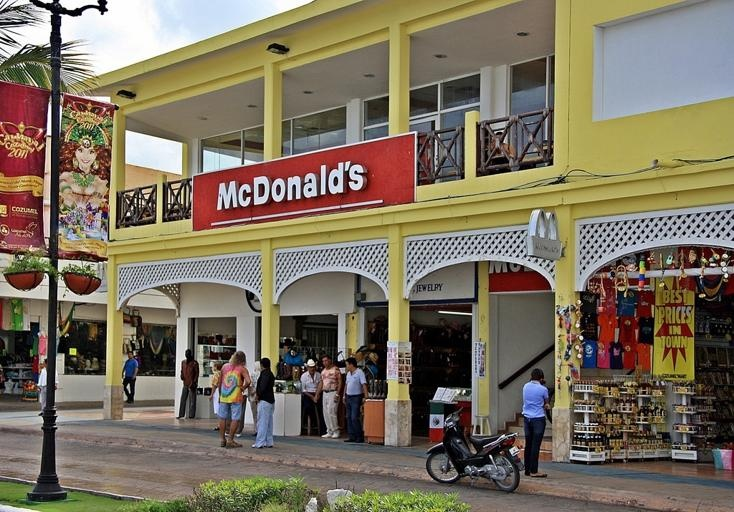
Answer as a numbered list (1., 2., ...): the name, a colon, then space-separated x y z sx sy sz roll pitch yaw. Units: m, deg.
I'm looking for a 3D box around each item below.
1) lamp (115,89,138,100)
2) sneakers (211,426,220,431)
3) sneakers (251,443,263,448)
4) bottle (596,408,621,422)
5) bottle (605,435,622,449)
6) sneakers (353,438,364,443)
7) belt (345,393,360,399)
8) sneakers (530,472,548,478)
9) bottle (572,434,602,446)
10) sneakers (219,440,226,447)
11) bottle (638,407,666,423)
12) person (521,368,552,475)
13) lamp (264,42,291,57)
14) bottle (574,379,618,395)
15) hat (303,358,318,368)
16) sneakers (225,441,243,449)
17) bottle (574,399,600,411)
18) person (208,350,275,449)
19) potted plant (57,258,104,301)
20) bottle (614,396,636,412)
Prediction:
1. lamp: -6.909 -4.689 24.462 0.722 0.302 0.222 -3 -13 25
2. sneakers: -3.915 4.526 22.212 0.278 0.115 0.377 0 -6 -3
3. sneakers: -2.404 4.204 18.702 0.223 0.095 0.371 6 -13 -12
4. bottle: 4.852 3.221 17.014 0.402 0.149 0.338 4 -5 -37
5. bottle: 4.958 3.745 17.108 0.317 0.309 0.174 3 -2 -15
6. sneakers: -0.133 4.320 19.895 0.268 0.107 0.231 7 -13 -17
7. belt: -0.317 3.342 20.179 0.360 0.134 0.078 -2 -13 21
8. sneakers: 3.070 3.909 15.138 0.296 0.084 0.235 1 -12 8
9. bottle: 4.295 3.622 16.647 0.311 0.121 0.304 1 -4 0
10. sneakers: -3.175 4.177 18.908 0.122 0.143 0.200 7 -13 -17
11. bottle: 5.963 3.329 17.766 0.374 0.195 0.507 1 -1 -1
12. person: 3.094 3.044 15.530 0.426 1.938 0.692 1 -12 11
13. lamp: -2.186 -5.206 21.036 0.458 0.164 0.319 18 -25 -36
14. bottle: 4.573 2.615 17.061 1.286 0.341 0.319 15 -17 -43
15. hat: -1.450 2.793 22.164 0.368 0.185 0.451 -1 -8 -2
16. sneakers: -2.934 4.201 18.864 0.263 0.115 0.129 -1 -4 0
17. bottle: 4.306 2.951 16.733 0.409 0.238 0.219 -2 -13 23
18. person: -2.991 3.223 19.164 0.620 2.142 0.758 14 -16 -43
19. potted plant: -6.285 0.382 18.672 0.900 0.756 0.923 1 18 -36
20. bottle: 5.346 3.053 17.514 0.342 0.344 0.352 1 -2 3
